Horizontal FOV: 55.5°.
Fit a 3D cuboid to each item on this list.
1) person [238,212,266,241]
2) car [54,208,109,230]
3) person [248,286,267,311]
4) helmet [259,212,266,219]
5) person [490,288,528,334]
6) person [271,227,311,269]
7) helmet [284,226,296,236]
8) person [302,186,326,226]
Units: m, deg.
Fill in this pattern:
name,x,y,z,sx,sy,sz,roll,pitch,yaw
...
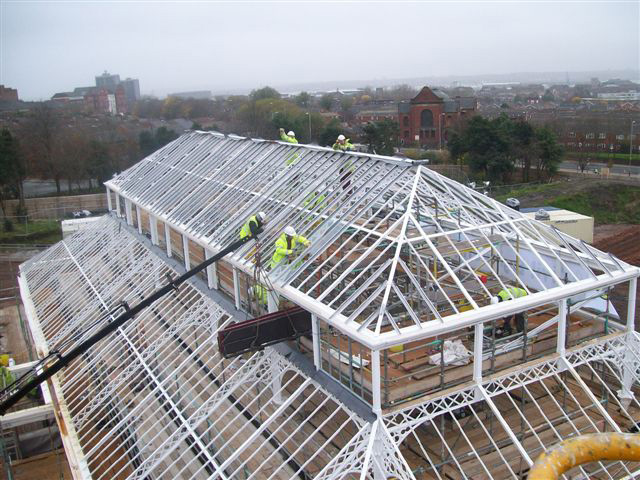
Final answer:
name,x,y,z,sx,sy,sz,roll,pitch,yaw
person,-2.044,-0.372,18.562,0.845,0.688,1.614,-8,19,-5
car,-17.934,-1.558,45.145,3.067,1.406,1.743,-8,13,-31
person,-1.862,1.680,17.960,0.456,0.799,0.436,27,45,31
helmet,-1.816,-0.760,18.934,0.138,0.192,0.194,-5,17,-17
person,5.096,1.857,16.413,0.841,1.392,0.469,-7,23,-3
person,-0.925,0.188,17.229,1.163,1.012,0.544,-10,19,-12
helmet,-0.891,-0.258,17.258,0.307,0.164,0.223,16,35,36
person,-0.193,-1.031,18.696,0.722,0.719,1.789,-6,19,1
